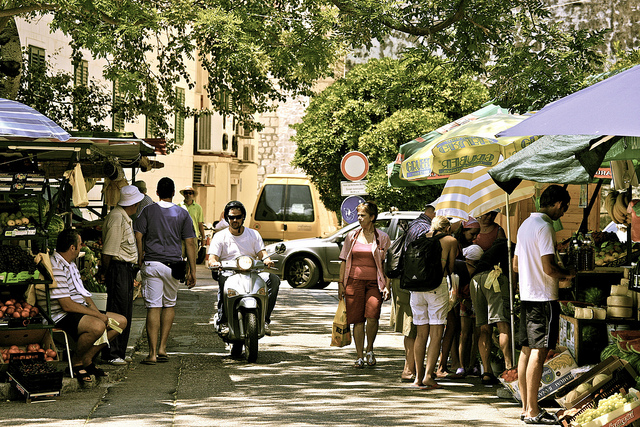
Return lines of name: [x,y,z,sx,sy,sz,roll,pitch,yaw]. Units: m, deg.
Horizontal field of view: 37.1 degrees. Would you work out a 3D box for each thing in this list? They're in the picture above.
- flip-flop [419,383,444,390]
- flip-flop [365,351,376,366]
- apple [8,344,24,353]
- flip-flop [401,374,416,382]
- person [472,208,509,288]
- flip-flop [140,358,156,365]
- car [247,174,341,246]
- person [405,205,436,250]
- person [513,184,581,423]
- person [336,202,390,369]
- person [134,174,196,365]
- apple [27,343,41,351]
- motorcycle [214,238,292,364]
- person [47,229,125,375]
flip-flop: [1.618,2.553,14.100,0.273,0.104,0.096,0,-4,-1]
flip-flop: [0.831,2.340,15.502,0.097,0.279,0.111,-3,-21,2]
apple: [-4.272,1.914,13.456,0.114,0.048,0.112,10,20,-5]
flip-flop: [1.343,2.502,14.485,0.215,0.109,0.162,2,-1,6]
person: [2.631,0.527,14.773,0.524,1.175,1.320,2,0,9]
flip-flop: [-2.725,2.363,15.159,0.274,0.072,0.129,2,-1,7]
car: [-0.765,-0.237,30.387,1.778,1.604,2.933,0,3,5]
person: [1.643,0.245,15.625,0.435,0.651,0.820,3,3,-24]
person: [2.896,1.188,12.582,0.676,3.094,0.374,2,0,13]
person: [0.686,1.151,15.232,0.794,2.646,0.762,2,0,3]
person: [-2.475,0.914,15.321,0.958,3.035,0.420,2,0,-9]
apple: [-4.054,1.901,13.606,0.165,0.103,0.098,3,-1,-32]
motorcycle: [-1.268,1.489,15.653,0.905,1.989,0.882,2,0,20]
person: [-3.439,1.272,13.751,0.811,2.088,0.498,2,0,-5]
